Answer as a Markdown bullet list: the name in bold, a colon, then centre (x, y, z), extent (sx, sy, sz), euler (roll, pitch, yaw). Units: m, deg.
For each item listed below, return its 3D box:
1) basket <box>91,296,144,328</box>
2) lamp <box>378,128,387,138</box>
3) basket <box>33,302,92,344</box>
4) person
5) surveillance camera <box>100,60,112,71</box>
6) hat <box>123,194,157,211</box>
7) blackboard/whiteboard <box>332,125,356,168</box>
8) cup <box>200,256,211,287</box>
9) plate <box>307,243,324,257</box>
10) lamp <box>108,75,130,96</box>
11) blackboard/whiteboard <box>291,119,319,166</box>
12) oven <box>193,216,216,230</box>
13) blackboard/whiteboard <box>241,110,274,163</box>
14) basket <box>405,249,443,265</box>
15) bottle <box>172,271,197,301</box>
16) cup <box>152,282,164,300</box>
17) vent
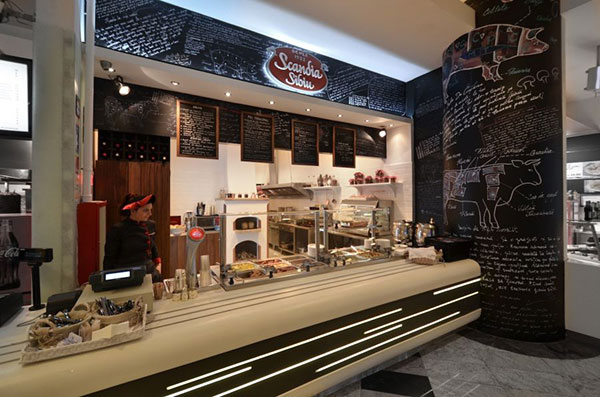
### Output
- **basket**: centre (-1.853, 1.153, 4.018), extent (0.500, 0.286, 0.174), euler (-1, -2, -19)
- **lamp**: centre (1.677, -1.329, 7.983), extent (0.168, 0.161, 0.303), euler (-2, -1, 11)
- **basket**: centre (-2.353, 1.232, 3.874), extent (0.450, 0.160, 0.322), euler (-3, 7, -35)
- **person**: centre (-2.171, 0.498, 5.062), extent (0.608, 1.095, 0.611), euler (-2, -1, -2)
- **surveillance camera**: centre (-2.621, -1.798, 5.302), extent (0.123, 0.059, 0.118), euler (-4, 5, -34)
- **hat**: centre (-2.043, 0.088, 4.960), extent (0.330, 0.126, 0.255), euler (-8, 9, -6)
- **blackboard/whiteboard**: centre (0.849, -0.991, 7.507), extent (0.562, 0.773, 0.124), euler (-1, -2, -30)
- **cup**: centre (-1.145, 0.863, 4.745), extent (0.138, 0.357, 0.250), euler (-1, -1, -13)
- **plate**: centre (0.210, 0.708, 5.399), extent (0.199, 0.106, 0.191), euler (-2, 3, -30)
- **lamp**: centre (-2.589, -1.627, 5.639), extent (0.261, 0.276, 0.342), euler (-1, -1, -22)
- **blackboard/whiteboard**: centre (0.079, -1.012, 7.096), extent (0.564, 0.789, 0.142), euler (0, -2, -37)
- **oven**: centre (-1.921, 0.500, 7.939), extent (0.445, 0.288, 0.255), euler (-1, -1, -15)
- **blackboard/whiteboard**: centre (-0.721, -1.040, 6.651), extent (0.596, 0.829, 0.105), euler (-1, -2, -29)
- **basket**: centre (1.759, 0.788, 5.498), extent (0.328, 0.118, 0.269), euler (1, -2, -35)
- **bottle**: centre (-1.313, 0.985, 4.479), extent (0.285, 0.338, 0.162), euler (-1, -2, -17)
- **cup**: centre (-1.606, 1.051, 4.444), extent (0.124, 0.178, 0.081), euler (-1, -2, -28)
- **vent**: centre (-0.476, -0.612, 10.761), extent (0.473, 1.241, 1.395), euler (9, -11, -39)
